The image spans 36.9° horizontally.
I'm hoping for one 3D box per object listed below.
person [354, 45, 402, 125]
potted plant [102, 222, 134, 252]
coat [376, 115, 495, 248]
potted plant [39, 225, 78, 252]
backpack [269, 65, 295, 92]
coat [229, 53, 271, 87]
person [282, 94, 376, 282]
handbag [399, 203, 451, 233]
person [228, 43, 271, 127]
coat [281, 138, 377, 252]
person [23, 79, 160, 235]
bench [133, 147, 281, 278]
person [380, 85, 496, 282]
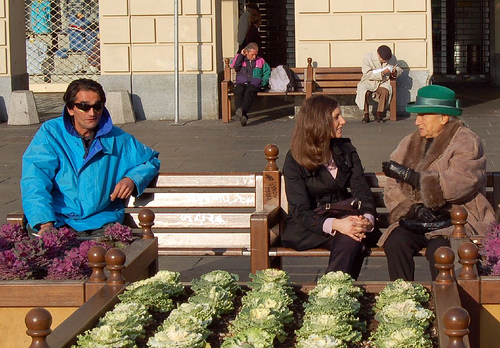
[{"bbox_3d":[2.449,-1.735,14.528,0.826,1.416,0.713,-9,20,-31],"label":"person"},{"bbox_3d":[-1.059,0.513,5.969,0.241,0.244,0.152,11,-34,-6],"label":"potted plant"},{"bbox_3d":[1.612,0.061,6.419,0.938,1.061,0.550,1,10,18],"label":"coat"},{"bbox_3d":[-1.443,0.493,5.590,0.298,0.156,0.170,-7,11,-25],"label":"potted plant"},{"bbox_3d":[0.641,-1.877,14.928,0.379,0.536,0.531,-9,21,6],"label":"backpack"},{"bbox_3d":[-0.004,-1.984,14.951,0.853,0.708,0.453,6,3,-6],"label":"coat"},{"bbox_3d":[0.656,0.126,6.377,0.797,1.491,0.743,-1,10,9],"label":"person"},{"bbox_3d":[1.477,0.357,6.320,0.421,0.193,0.204,0,10,11],"label":"handbag"},{"bbox_3d":[-0.055,-1.747,14.579,0.818,0.837,1.718,5,37,5],"label":"person"},{"bbox_3d":[0.675,0.166,6.512,0.837,0.900,0.493,-2,9,2],"label":"coat"},{"bbox_3d":[-1.395,-0.098,6.536,1.199,1.337,0.921,3,-1,-33],"label":"person"},{"bbox_3d":[-0.393,0.606,7.093,1.754,1.583,0.728,-3,-9,36],"label":"bench"},{"bbox_3d":[1.580,0.062,6.342,0.947,1.512,0.723,-1,10,10],"label":"person"}]
